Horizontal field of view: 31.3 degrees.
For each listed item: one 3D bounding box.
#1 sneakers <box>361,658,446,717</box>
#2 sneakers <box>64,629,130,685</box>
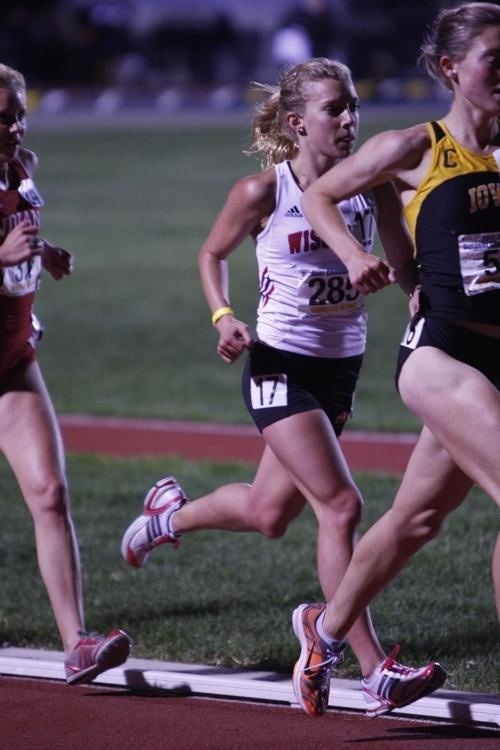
[{"bbox_3d":[0.405,0.801,2.333,0.114,0.292,0.134,15,50,-28],"label":"sneakers"},{"bbox_3d":[-0.416,0.773,2.403,0.175,0.164,0.121,0,4,-3],"label":"sneakers"}]
